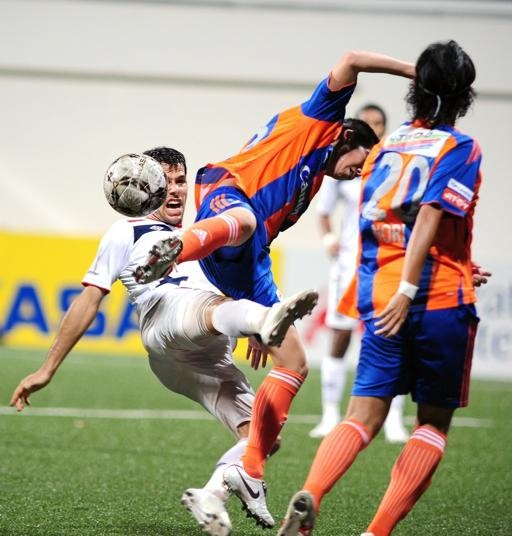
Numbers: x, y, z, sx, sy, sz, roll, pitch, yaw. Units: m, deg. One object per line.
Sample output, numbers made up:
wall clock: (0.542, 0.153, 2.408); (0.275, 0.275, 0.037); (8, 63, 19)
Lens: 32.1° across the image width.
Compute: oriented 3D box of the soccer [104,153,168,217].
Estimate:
soccer: (-0.531, -0.335, 3.867); (0.299, 0.290, 0.270); (-1, -13, -19)

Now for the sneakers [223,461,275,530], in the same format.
sneakers: (-0.029, 0.944, 3.672); (0.253, 0.255, 0.159); (12, -2, 0)

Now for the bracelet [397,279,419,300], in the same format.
bracelet: (0.612, 0.084, 3.579); (0.083, 0.064, 0.080); (31, -4, 11)

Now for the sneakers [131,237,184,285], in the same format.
sneakers: (-0.377, -0.031, 3.472); (0.133, 0.230, 0.105); (45, 11, -42)
